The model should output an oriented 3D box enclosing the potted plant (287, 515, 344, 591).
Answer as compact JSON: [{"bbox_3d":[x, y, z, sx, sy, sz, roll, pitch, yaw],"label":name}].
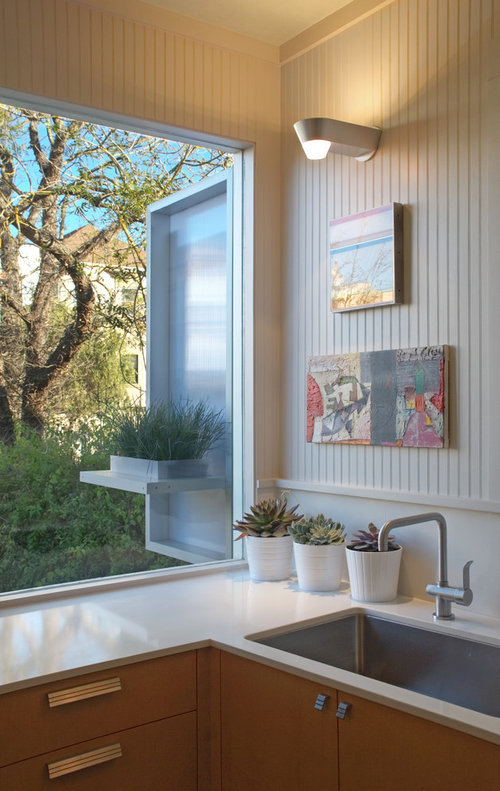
[{"bbox_3d":[0.207,0.467,1.749,0.132,0.191,0.149,-1,-1,-27],"label":"potted plant"}]

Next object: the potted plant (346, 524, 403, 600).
[{"bbox_3d":[0.342,0.440,1.606,0.138,0.188,0.142,-11,-6,37],"label":"potted plant"}]

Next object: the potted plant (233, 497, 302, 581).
[{"bbox_3d":[0.049,0.453,1.957,0.218,0.277,0.224,-1,-9,0],"label":"potted plant"}]

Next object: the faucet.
[{"bbox_3d":[0.391,0.390,1.330,0.219,0.247,0.108,-2,2,-28],"label":"faucet"}]

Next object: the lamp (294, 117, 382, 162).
[{"bbox_3d":[0.245,-0.719,1.725,0.199,0.087,0.141,3,-3,-29],"label":"lamp"}]
